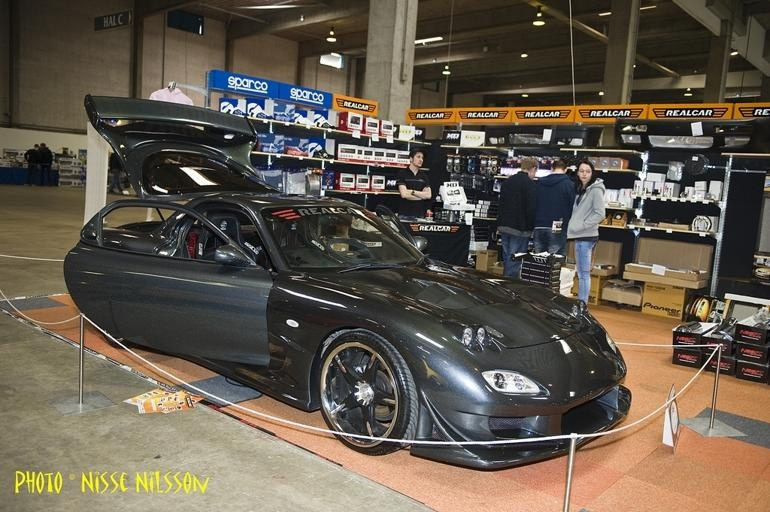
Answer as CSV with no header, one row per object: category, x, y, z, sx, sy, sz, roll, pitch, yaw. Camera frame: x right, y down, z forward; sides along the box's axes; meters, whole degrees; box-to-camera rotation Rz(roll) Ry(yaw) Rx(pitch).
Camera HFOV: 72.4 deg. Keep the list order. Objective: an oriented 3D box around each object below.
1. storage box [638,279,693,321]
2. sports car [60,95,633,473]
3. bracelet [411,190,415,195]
storage box,4.463,0.679,8.380,0.709,0.383,0.659,9,5,32
sports car,-0.585,-0.156,4.906,5.415,1.710,2.235,20,21,32
bracelet,0.495,-1.143,9.476,0.091,0.064,0.019,1,-14,-31
